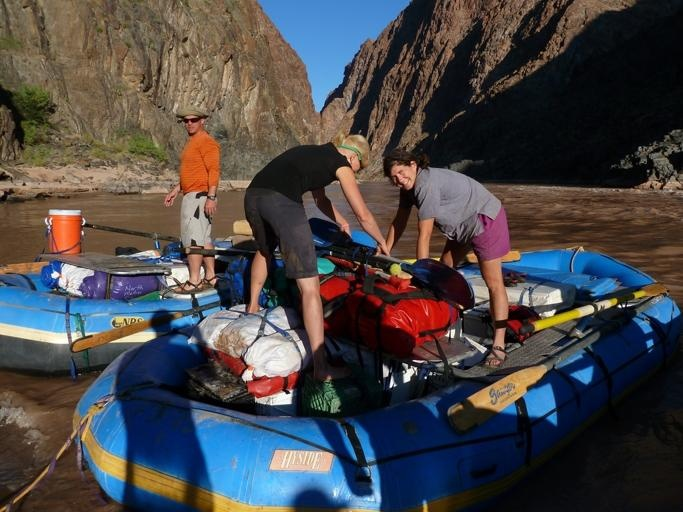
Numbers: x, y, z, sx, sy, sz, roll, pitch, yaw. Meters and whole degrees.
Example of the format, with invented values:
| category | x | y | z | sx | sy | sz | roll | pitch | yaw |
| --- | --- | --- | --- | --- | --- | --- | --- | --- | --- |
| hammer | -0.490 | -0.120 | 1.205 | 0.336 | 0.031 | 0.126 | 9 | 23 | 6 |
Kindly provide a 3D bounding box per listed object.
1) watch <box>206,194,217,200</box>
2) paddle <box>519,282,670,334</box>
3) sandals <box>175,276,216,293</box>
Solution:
| category | x | y | z | sx | sy | sz | roll | pitch | yaw |
| --- | --- | --- | --- | --- | --- | --- | --- | --- | --- |
| watch | -1.278 | -0.571 | 5.207 | 0.068 | 0.060 | 0.026 | 2 | 49 | -7 |
| paddle | 2.020 | 0.433 | 4.272 | 1.575 | 0.111 | 0.263 | -8 | -7 | -37 |
| sandals | -1.431 | 0.284 | 5.187 | 0.411 | 0.095 | 0.151 | 0 | 7 | -12 |
